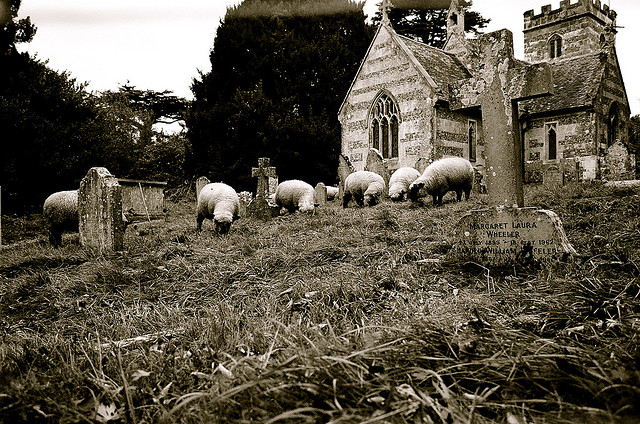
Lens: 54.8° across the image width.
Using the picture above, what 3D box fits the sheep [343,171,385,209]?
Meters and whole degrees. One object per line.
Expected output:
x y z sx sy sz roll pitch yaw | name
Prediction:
1.535 -0.829 22.088 0.743 1.237 1.568 -2 2 -38 | sheep

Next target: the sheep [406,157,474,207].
3.982 -0.954 20.232 2.737 1.514 0.918 -9 8 -29 | sheep

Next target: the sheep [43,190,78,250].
-6.899 0.186 16.523 0.891 1.483 0.745 -1 1 -16 | sheep

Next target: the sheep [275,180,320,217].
-0.821 -0.333 21.807 1.097 1.351 2.410 -4 16 -27 | sheep

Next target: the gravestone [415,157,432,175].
4.151 -1.835 24.798 0.184 0.664 0.682 5 5 -37 | gravestone

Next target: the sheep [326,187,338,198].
0.537 -0.859 27.107 0.441 0.453 1.233 -1 1 2 | sheep

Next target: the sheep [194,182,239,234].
-2.922 -0.123 17.597 0.999 1.403 1.848 -1 1 -22 | sheep

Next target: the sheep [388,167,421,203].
2.921 -1.031 21.910 0.708 0.938 1.587 -15 23 37 | sheep

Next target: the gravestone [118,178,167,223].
-6.468 -0.467 22.750 0.671 1.406 2.565 -1 1 9 | gravestone
